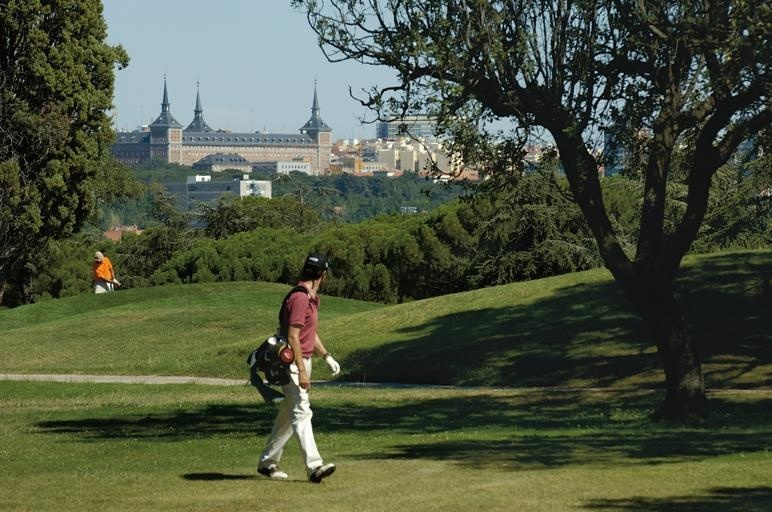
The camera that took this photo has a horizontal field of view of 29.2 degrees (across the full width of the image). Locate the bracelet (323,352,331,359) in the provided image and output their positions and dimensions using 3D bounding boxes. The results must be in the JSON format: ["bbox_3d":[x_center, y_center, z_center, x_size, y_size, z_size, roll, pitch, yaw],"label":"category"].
[{"bbox_3d":[-1.458,2.416,36.473,0.148,0.165,0.136,0,-7,-13],"label":"bracelet"}]
